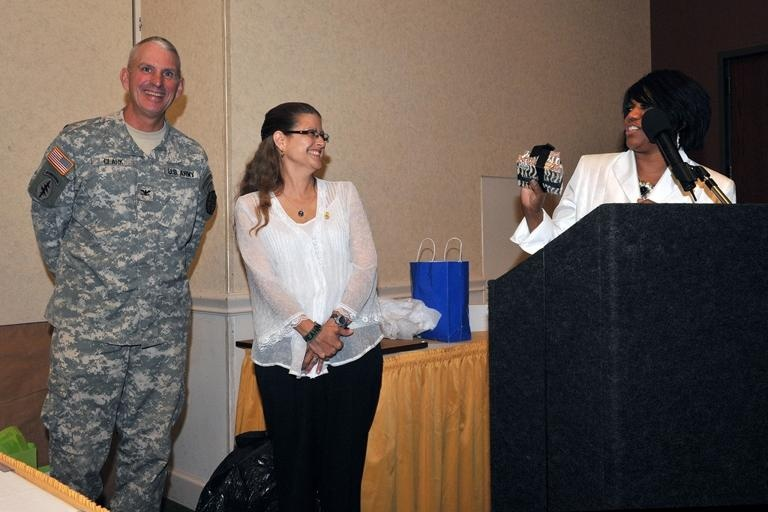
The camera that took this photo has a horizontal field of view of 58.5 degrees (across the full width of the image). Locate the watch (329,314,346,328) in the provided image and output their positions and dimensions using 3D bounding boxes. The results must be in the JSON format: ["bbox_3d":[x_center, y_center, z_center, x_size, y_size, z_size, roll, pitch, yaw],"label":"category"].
[{"bbox_3d":[-0.187,0.262,2.868,0.066,0.060,0.032,-2,-1,0],"label":"watch"}]

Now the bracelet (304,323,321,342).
[{"bbox_3d":[-0.292,0.312,2.826,0.064,0.019,0.065,-33,21,51],"label":"bracelet"}]

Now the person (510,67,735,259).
[{"bbox_3d":[0.870,-0.386,2.671,0.862,0.647,0.522,-2,-1,-14],"label":"person"}]

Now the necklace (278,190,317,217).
[{"bbox_3d":[-0.370,-0.231,3.016,0.113,0.158,0.047,-4,-42,-29],"label":"necklace"}]

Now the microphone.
[{"bbox_3d":[0.886,-0.322,2.118,0.150,0.241,0.208,-2,-1,36],"label":"microphone"}]
